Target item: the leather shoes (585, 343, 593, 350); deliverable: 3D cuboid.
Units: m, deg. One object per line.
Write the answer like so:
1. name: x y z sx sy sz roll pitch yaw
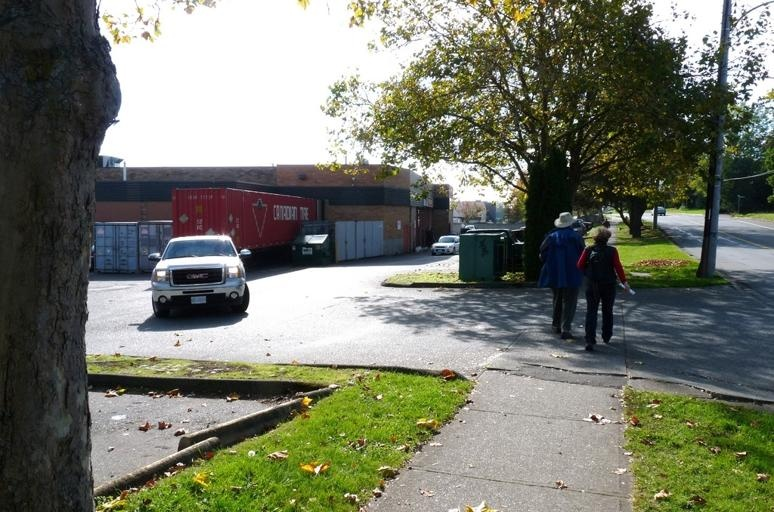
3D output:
1. leather shoes: 3.281 1.467 10.688 0.131 0.106 0.236 1 7 17

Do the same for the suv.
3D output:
1. suv: -4.511 0.393 15.626 1.508 1.214 2.590 -1 -4 -7
